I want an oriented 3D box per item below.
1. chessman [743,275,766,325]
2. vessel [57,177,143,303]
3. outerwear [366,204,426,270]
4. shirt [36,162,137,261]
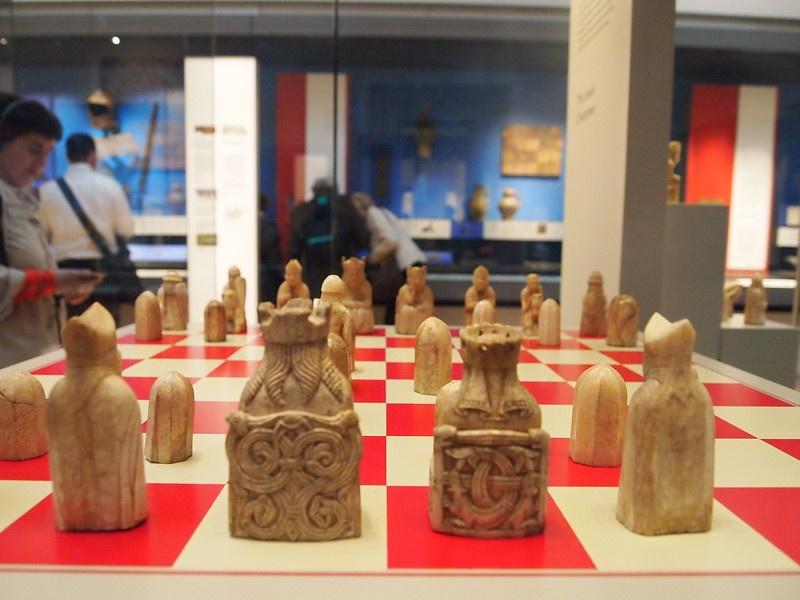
[{"bbox_3d":[3.343,0.003,7.799,0.178,0.453,0.202,4,8,21],"label":"chessman"},{"bbox_3d":[-2.515,-0.504,7.259,0.214,0.944,0.546,-23,11,3],"label":"vessel"},{"bbox_3d":[-0.084,-0.581,8.066,0.233,0.637,0.458,-12,20,39],"label":"outerwear"},{"bbox_3d":[-2.693,-0.761,7.026,0.595,0.599,0.335,-30,28,-21],"label":"shirt"}]
